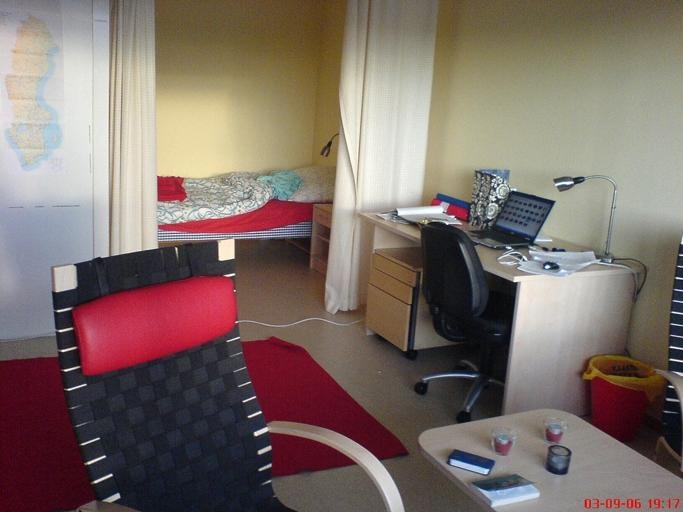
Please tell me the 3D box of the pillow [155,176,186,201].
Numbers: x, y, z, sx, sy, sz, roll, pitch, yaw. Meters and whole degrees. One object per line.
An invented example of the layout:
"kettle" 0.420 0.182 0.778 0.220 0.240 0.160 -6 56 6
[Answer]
"pillow" -1.772 -0.700 5.120 0.352 0.187 0.456 -3 25 -15

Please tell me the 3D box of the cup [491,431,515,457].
"cup" 0.549 0.643 1.700 0.069 0.067 0.059 0 4 1

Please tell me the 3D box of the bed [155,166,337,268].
"bed" -0.953 -0.363 5.074 1.632 0.432 0.932 0 30 -15

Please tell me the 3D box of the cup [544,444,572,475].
"cup" 0.715 0.672 1.639 0.080 0.084 0.079 0 13 0

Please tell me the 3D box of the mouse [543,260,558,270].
"mouse" 1.108 0.040 2.628 0.044 0.020 0.061 10 17 28

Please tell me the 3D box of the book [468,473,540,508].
"book" 0.510 0.723 1.541 0.117 0.027 0.088 -3 14 -20

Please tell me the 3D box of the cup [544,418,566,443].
"cup" 0.768 0.636 1.811 0.062 0.074 0.073 1 1 1

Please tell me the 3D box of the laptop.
"laptop" 1.085 -0.145 3.214 0.441 0.281 0.450 -10 24 -16

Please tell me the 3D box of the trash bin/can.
"trash bin/can" 1.542 0.782 2.713 0.349 0.386 0.364 6 11 34

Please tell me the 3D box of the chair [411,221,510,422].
"chair" 0.837 0.334 2.948 0.728 1.047 0.687 0 9 6

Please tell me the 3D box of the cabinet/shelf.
"cabinet/shelf" 0.497 0.317 3.556 0.425 0.626 0.658 1 13 -28
